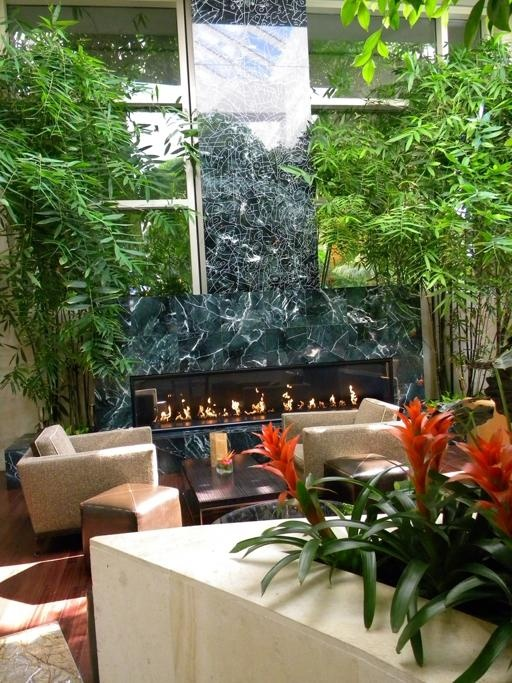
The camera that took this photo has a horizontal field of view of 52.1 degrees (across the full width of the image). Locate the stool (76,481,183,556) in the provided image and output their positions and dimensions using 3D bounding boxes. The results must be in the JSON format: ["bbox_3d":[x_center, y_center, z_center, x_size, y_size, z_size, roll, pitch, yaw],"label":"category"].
[{"bbox_3d":[-0.719,1.054,3.045,0.566,0.368,0.556,-4,3,-25],"label":"stool"}]

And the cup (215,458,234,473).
[{"bbox_3d":[-0.202,0.812,3.432,0.095,0.087,0.093,1,-2,0],"label":"cup"}]

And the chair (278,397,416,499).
[{"bbox_3d":[0.619,0.732,3.800,0.771,0.523,0.773,-2,0,-1],"label":"chair"}]

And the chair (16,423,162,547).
[{"bbox_3d":[-1.118,0.898,3.636,0.942,0.560,0.944,-1,2,-6],"label":"chair"}]

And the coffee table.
[{"bbox_3d":[-0.160,0.996,3.440,0.592,0.310,0.844,-3,7,-10],"label":"coffee table"}]
